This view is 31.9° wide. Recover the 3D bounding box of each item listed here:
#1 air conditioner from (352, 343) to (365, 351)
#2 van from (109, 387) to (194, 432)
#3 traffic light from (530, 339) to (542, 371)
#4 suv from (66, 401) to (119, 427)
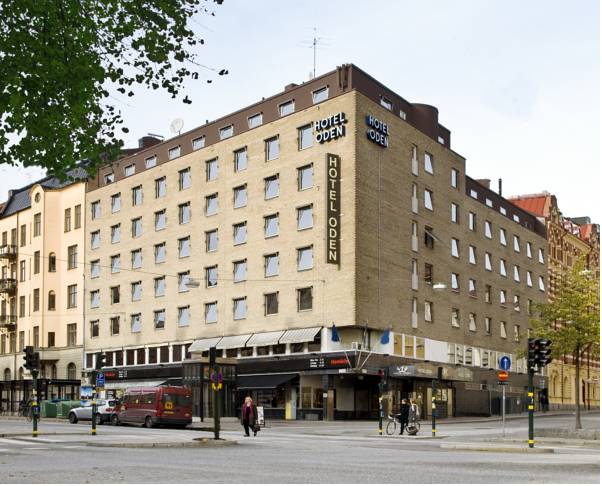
[{"bbox_3d":[3.462,6.243,63.242,0.500,0.664,0.387,1,-2,30],"label":"air conditioner"},{"bbox_3d":[-7.485,8.390,54.094,2.024,1.905,3.739,8,-10,-41],"label":"van"},{"bbox_3d":[8.722,4.208,39.174,0.432,1.177,0.759,-3,-17,13],"label":"traffic light"},{"bbox_3d":[-11.616,9.529,58.829,3.119,1.341,1.471,-3,-7,40],"label":"suv"}]
